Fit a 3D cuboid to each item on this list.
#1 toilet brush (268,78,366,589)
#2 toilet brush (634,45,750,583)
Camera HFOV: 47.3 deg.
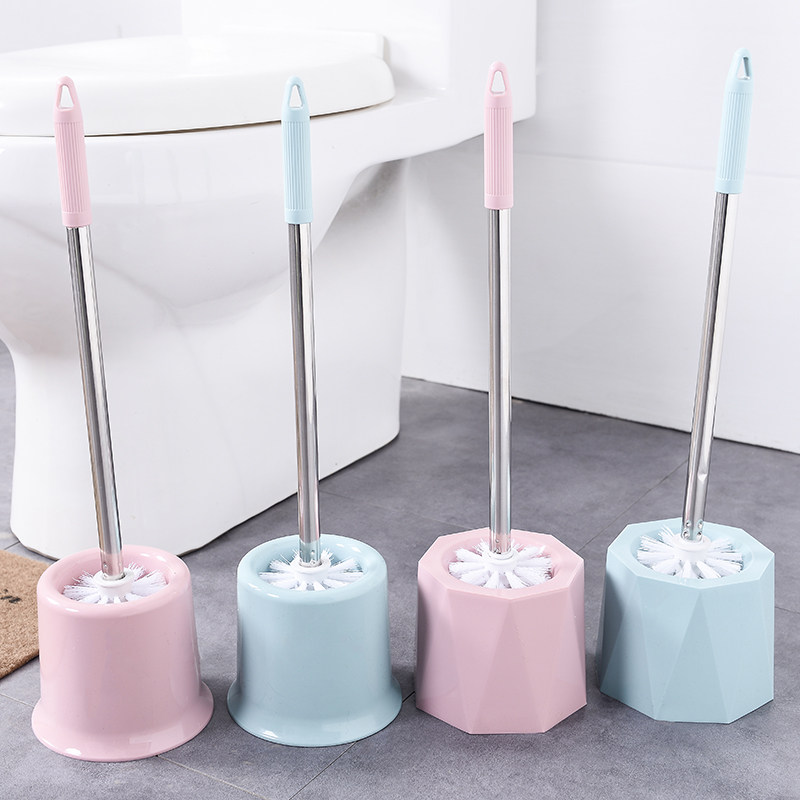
[{"bbox_3d":[-0.062,-0.026,0.564,0.063,0.326,0.044,-4,21,-9],"label":"toilet brush"},{"bbox_3d":[0.195,-0.038,0.569,0.070,0.329,0.078,10,23,25],"label":"toilet brush"}]
